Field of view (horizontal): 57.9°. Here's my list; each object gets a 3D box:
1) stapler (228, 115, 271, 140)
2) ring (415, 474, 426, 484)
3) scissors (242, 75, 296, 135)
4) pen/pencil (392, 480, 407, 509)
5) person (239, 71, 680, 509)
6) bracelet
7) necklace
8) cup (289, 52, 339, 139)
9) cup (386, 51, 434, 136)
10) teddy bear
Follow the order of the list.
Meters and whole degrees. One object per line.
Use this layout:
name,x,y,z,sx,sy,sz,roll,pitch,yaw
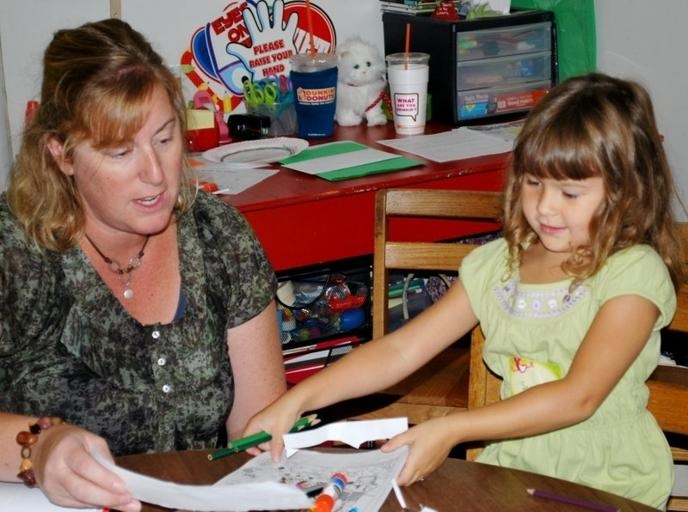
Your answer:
stapler,-0.347,-0.470,2.251,0.069,0.112,0.251,-18,20,-42
ring,0.117,0.341,0.951,0.011,0.010,0.011,0,9,0
scissors,-0.268,-0.561,2.308,0.205,0.161,0.224,-12,15,-23
pen/pencil,0.081,0.352,0.916,0.010,0.043,0.008,-35,-15,36
person,0.399,-0.065,1.625,1.020,1.123,0.616,-14,16,-20
bracelet,-0.463,0.310,0.985,0.032,0.095,0.082,12,-7,-21
necklace,-0.428,-0.010,1.208,0.108,0.176,0.018,-13,62,-22
cup,-0.108,-0.589,2.278,0.185,0.278,0.183,0,27,0
cup,0.243,-0.598,2.277,0.182,0.263,0.181,-4,22,2
teddy bear,0.055,-0.659,2.355,0.224,0.292,0.227,16,35,24
